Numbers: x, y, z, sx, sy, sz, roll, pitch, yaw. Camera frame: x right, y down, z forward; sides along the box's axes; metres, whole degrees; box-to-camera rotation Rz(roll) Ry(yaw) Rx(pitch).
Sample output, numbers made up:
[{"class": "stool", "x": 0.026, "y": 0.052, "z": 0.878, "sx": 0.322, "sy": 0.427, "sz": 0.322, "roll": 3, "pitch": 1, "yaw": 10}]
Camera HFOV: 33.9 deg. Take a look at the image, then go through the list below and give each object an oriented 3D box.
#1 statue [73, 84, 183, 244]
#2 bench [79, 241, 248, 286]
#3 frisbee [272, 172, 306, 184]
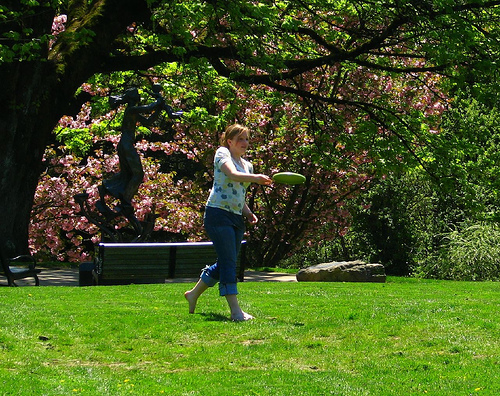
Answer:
[{"class": "statue", "x": -2.790, "y": -0.721, "z": 18.217, "sx": 1.866, "sy": 3.587, "sz": 1.833, "roll": -3, "pitch": 11, "yaw": -25}, {"class": "bench", "x": -1.783, "y": 1.629, "z": 16.638, "sx": 3.223, "sy": 1.440, "sz": 1.086, "roll": -3, "pitch": -10, "yaw": 14}, {"class": "frisbee", "x": 0.592, "y": -0.301, "z": 12.739, "sx": 0.473, "sy": 0.181, "sz": 0.347, "roll": 2, "pitch": 9, "yaw": 1}]
